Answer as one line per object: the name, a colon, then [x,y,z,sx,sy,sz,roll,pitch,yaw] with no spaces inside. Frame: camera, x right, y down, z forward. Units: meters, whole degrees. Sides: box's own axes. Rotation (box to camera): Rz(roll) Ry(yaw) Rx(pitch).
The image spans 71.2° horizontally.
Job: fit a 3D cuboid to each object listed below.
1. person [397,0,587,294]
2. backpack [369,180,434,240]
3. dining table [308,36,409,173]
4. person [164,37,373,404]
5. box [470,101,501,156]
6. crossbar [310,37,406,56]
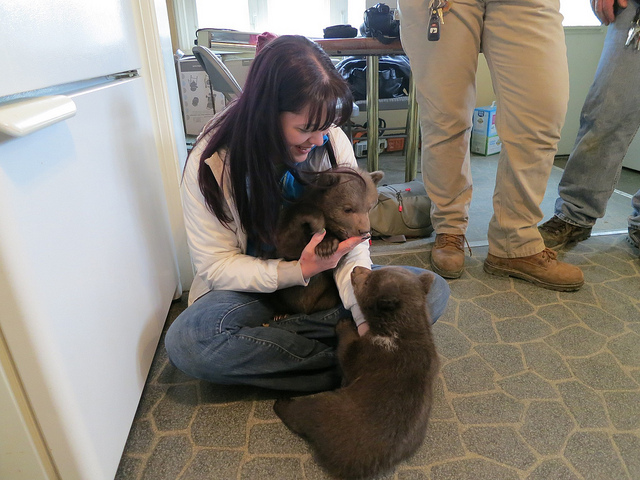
person: [0.947,-0.528,2.513,1.139,1.443,0.489,11,31,18]
backpack: [0.540,-0.214,3.309,0.502,0.398,0.357,1,-10,-19]
dining table: [0.579,-1.343,4.080,0.950,0.781,0.977,-5,24,-21]
person: [-0.095,-0.135,1.962,1.043,1.292,0.820,-5,23,-17]
box: [1.955,-1.283,5.249,0.368,0.568,0.317,15,33,25]
crossbar: [0.336,-1.544,3.581,0.691,0.154,0.254,1,30,2]
